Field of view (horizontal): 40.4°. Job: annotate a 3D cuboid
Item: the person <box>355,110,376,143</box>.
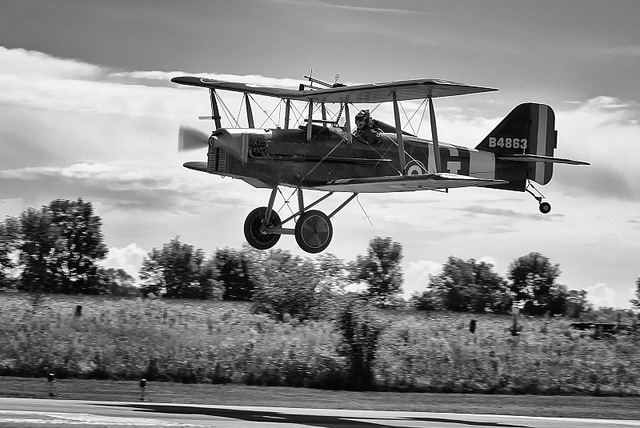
[{"bbox_3d":[2.336,-4.454,43.800,0.870,1.455,1.282,-13,12,33],"label":"person"}]
